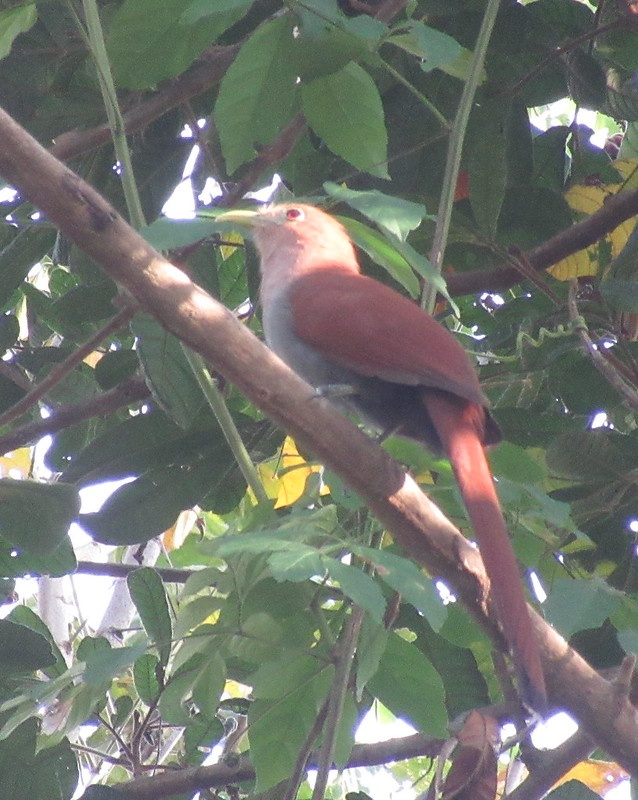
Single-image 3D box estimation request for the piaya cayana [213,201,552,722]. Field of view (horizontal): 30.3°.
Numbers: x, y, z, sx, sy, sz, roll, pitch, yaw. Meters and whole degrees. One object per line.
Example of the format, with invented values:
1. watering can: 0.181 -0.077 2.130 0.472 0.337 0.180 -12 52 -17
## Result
1. piaya cayana: 0.120 -0.007 2.759 0.788 1.553 0.403 9 -53 -6
